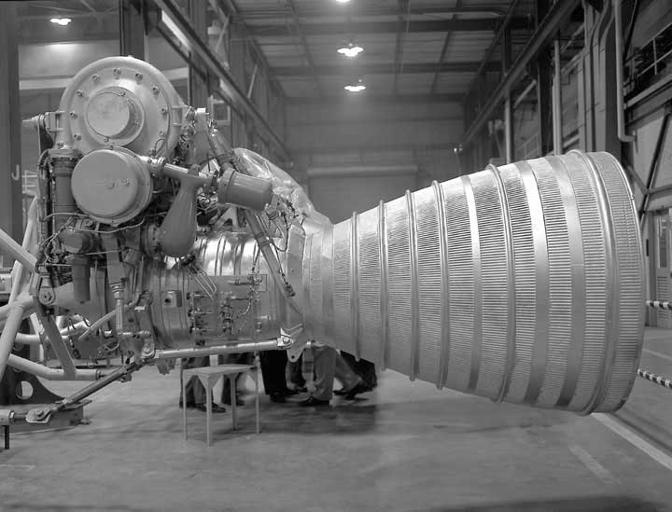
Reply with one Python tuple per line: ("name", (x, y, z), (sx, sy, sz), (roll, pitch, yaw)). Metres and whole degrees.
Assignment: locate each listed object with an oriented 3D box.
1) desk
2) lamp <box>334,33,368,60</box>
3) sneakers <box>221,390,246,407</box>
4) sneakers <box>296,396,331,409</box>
("desk", (-1.113, 1.357, 5.655), (0.796, 0.649, 1.500), (-1, 1, -16))
("lamp", (0.330, -4.426, 11.948), (0.587, 0.320, 0.612), (-1, 1, 0))
("sneakers", (-1.183, 1.635, 6.435), (0.301, 0.243, 0.124), (-1, 6, 1))
("sneakers", (-0.256, 1.602, 6.238), (0.333, 0.162, 0.133), (6, -7, -1))
